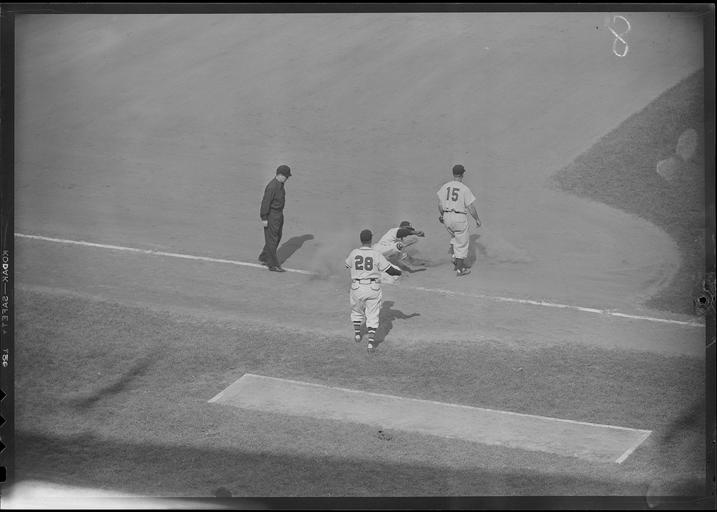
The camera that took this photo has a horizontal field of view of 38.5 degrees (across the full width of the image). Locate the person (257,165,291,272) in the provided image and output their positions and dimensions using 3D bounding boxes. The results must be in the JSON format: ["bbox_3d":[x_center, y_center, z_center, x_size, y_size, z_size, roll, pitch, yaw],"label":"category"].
[{"bbox_3d":[-2.020,-0.898,24.793,0.704,2.595,0.980,7,7,-4],"label":"person"}]

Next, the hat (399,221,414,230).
[{"bbox_3d":[1.130,-0.719,24.556,0.272,0.139,0.215,1,1,45],"label":"hat"}]

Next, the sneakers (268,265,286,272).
[{"bbox_3d":[-1.983,0.299,25.019,0.425,0.168,0.153,4,6,9],"label":"sneakers"}]

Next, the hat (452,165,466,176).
[{"bbox_3d":[2.389,-2.064,24.424,0.261,0.170,0.350,6,31,14],"label":"hat"}]

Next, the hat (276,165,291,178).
[{"bbox_3d":[-1.800,-2.013,24.579,0.308,0.286,0.576,7,7,-6],"label":"hat"}]

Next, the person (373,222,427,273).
[{"bbox_3d":[1.022,-0.271,24.678,1.213,1.036,0.841,-2,-11,-12],"label":"person"}]

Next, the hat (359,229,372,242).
[{"bbox_3d":[0.163,-0.402,22.306,0.242,0.328,0.357,7,7,0],"label":"hat"}]
